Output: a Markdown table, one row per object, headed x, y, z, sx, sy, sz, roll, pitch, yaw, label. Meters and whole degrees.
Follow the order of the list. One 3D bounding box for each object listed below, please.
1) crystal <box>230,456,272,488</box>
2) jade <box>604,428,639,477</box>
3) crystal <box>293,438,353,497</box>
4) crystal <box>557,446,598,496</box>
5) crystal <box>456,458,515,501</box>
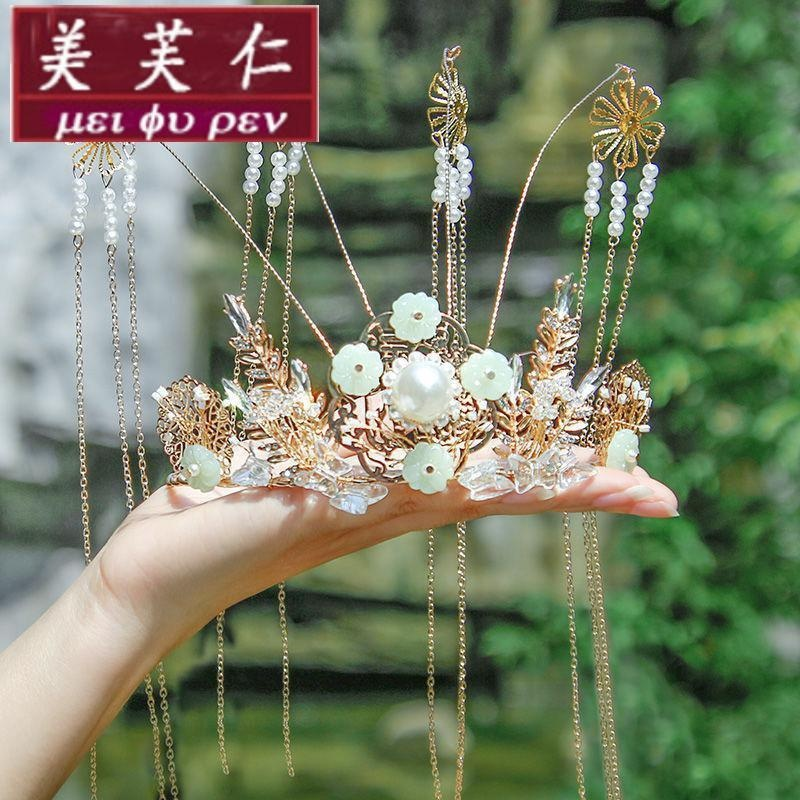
| x | y | z | sx | sy | sz | roll | pitch | yaw | label |
| --- | --- | --- | --- | --- | --- | --- | --- | --- | --- |
| -0.232 | 0.114 | 2.337 | 0.059 | 0.021 | 0.047 | 9 | 84 | 2 | crystal |
| 0.356 | 0.085 | 2.412 | 0.056 | 0.017 | 0.067 | 10 | 95 | -1 | jade |
| -0.119 | 0.109 | 2.331 | 0.080 | 0.035 | 0.083 | 22 | 85 | 4 | crystal |
| 0.271 | 0.115 | 2.373 | 0.062 | 0.021 | 0.073 | 4 | 92 | -11 | crystal |
| 0.132 | 0.127 | 2.338 | 0.081 | 0.052 | 0.062 | -13 | 84 | 0 | crystal |
